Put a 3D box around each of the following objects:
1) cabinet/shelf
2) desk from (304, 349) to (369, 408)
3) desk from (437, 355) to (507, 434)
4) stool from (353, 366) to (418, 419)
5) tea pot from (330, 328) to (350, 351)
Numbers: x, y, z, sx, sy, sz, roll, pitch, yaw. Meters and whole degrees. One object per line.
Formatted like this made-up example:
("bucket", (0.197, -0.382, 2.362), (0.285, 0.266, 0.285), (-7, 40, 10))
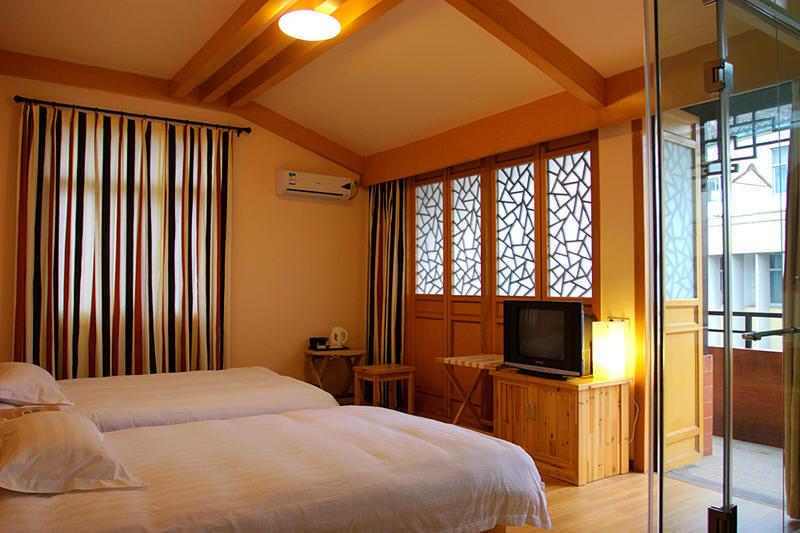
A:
("cabinet/shelf", (1.368, 1.118, 5.165), (0.699, 1.016, 1.171), (5, -8, -32))
("desk", (-0.747, 1.176, 6.892), (0.779, 0.787, 0.594), (5, -11, -33))
("desk", (0.766, 1.292, 5.747), (0.522, 0.544, 0.541), (6, -9, -26))
("stool", (-0.160, 1.273, 6.406), (0.550, 0.593, 0.564), (4, -9, -31))
("tea pot", (-0.695, 0.837, 6.942), (0.207, 0.253, 0.227), (-1, -16, 0))
